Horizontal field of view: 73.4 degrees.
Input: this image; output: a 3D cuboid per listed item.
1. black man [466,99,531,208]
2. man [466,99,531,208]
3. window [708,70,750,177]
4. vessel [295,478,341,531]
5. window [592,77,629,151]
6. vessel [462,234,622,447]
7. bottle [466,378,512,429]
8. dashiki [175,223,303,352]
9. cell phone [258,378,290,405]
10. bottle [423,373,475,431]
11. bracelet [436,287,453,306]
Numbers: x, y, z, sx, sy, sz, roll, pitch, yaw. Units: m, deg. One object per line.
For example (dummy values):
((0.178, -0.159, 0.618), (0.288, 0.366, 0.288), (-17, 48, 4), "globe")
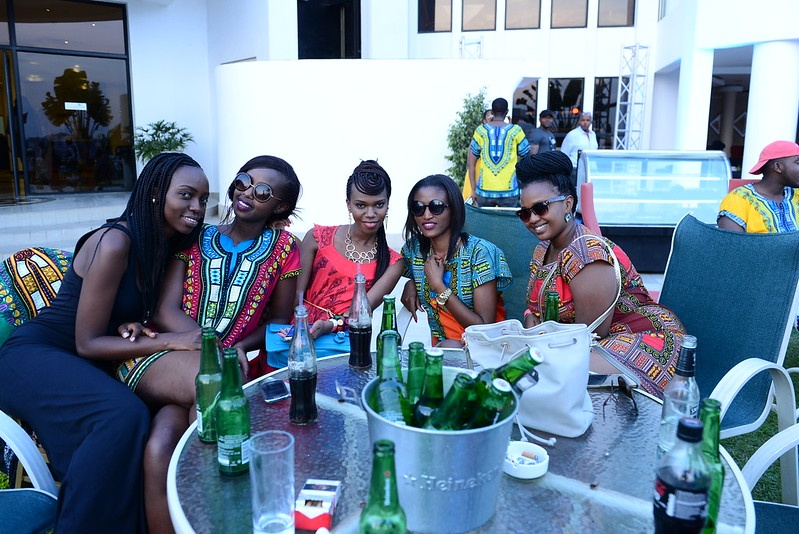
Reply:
((1.322, -1.237, 7.104), (0.734, 1.909, 0.496), (7, 30, 20), "black man")
((1.336, -1.239, 7.115), (0.722, 1.880, 0.527), (7, 31, 20), "man")
((10.713, -4.935, 17.477), (0.669, 1.861, 0.678), (-4, 13, -26), "window")
((-0.230, 0.659, 1.508), (0.110, 0.065, 0.154), (1, 15, 9), "vessel")
((5.957, -4.183, 14.505), (0.367, 1.829, 0.395), (-12, 18, -43), "window")
((0.428, 0.277, 1.883), (0.365, 0.550, 0.473), (-3, 6, -42), "vessel")
((0.240, 0.361, 1.422), (0.055, 0.143, 0.054), (0, 56, -1), "bottle")
((-0.799, 0.098, 2.592), (0.519, 0.495, 0.271), (19, -4, -6), "dashiki")
((-0.473, 0.448, 2.025), (0.121, 0.063, 0.164), (-5, 16, -19), "cell phone")
((0.136, 0.370, 1.459), (0.062, 0.162, 0.061), (4, 45, -4), "bottle")
((0.241, 0.148, 2.891), (0.059, 0.096, 0.094), (36, 13, 13), "bracelet")
